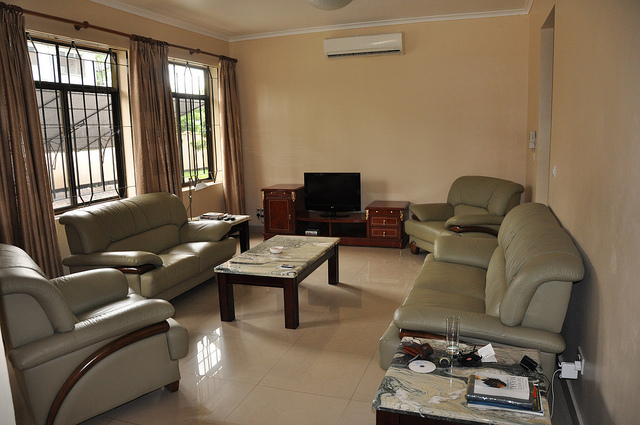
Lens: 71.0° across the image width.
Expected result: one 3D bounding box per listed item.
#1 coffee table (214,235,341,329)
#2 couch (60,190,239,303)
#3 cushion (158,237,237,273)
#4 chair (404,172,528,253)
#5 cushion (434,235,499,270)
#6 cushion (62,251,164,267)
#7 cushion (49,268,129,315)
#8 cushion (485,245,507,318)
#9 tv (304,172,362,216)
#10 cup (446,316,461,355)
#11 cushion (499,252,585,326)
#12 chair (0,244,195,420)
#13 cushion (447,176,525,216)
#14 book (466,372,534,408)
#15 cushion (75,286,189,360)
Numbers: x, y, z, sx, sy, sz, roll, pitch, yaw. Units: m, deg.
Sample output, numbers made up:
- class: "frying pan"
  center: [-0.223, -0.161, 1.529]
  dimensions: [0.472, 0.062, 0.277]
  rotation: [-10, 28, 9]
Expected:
- class: "coffee table"
  center: [-0.450, 0.753, 5.557]
  dimensions: [1.030, 0.590, 1.585]
  rotation: [2, 12, 19]
- class: "couch"
  center: [-2.078, 0.390, 5.825]
  dimensions: [1.215, 1.013, 2.038]
  rotation: [8, 13, 17]
- class: "cushion"
  center: [-1.571, 0.472, 5.940]
  dimensions: [0.425, 0.225, 0.799]
  rotation: [7, 11, 26]
- class: "chair"
  center: [2.134, 0.069, 6.787]
  dimensions: [1.331, 1.050, 1.343]
  rotation: [-11, 13, -20]
- class: "cushion"
  center: [1.599, 0.406, 5.009]
  dimensions: [0.450, 0.159, 0.433]
  rotation: [16, 31, 35]
- class: "cushion"
  center: [-2.391, 0.522, 5.145]
  dimensions: [1.111, 0.190, 0.269]
  rotation: [1, 13, 12]
- class: "cushion"
  center: [-2.142, 0.606, 4.192]
  dimensions: [0.476, 0.339, 0.453]
  rotation: [-17, 25, -32]
- class: "cushion"
  center: [1.574, 0.625, 4.023]
  dimensions: [0.191, 0.204, 0.549]
  rotation: [-13, 30, 31]
- class: "tv"
  center: [0.222, -0.355, 7.717]
  dimensions: [0.775, 0.515, 0.200]
  rotation: [2, 14, 8]
- class: "cup"
  center: [0.964, 0.889, 3.260]
  dimensions: [0.091, 0.263, 0.184]
  rotation: [3, 14, 17]
- class: "cushion"
  center: [1.648, 0.522, 3.360]
  dimensions: [0.533, 0.480, 0.735]
  rotation: [-2, 3, 27]
- class: "chair"
  center: [-1.983, 1.038, 4.171]
  dimensions: [1.456, 1.436, 1.714]
  rotation: [-6, 11, -37]
- class: "cushion"
  center: [2.576, -0.160, 6.895]
  dimensions: [1.173, 0.498, 0.624]
  rotation: [3, -26, 20]
- class: "book"
  center: [1.164, 1.144, 2.921]
  dimensions: [0.436, 0.093, 0.215]
  rotation: [1, 12, 9]
- class: "cushion"
  center: [-1.567, 0.834, 3.805]
  dimensions: [0.819, 0.543, 0.570]
  rotation: [18, 24, 40]
